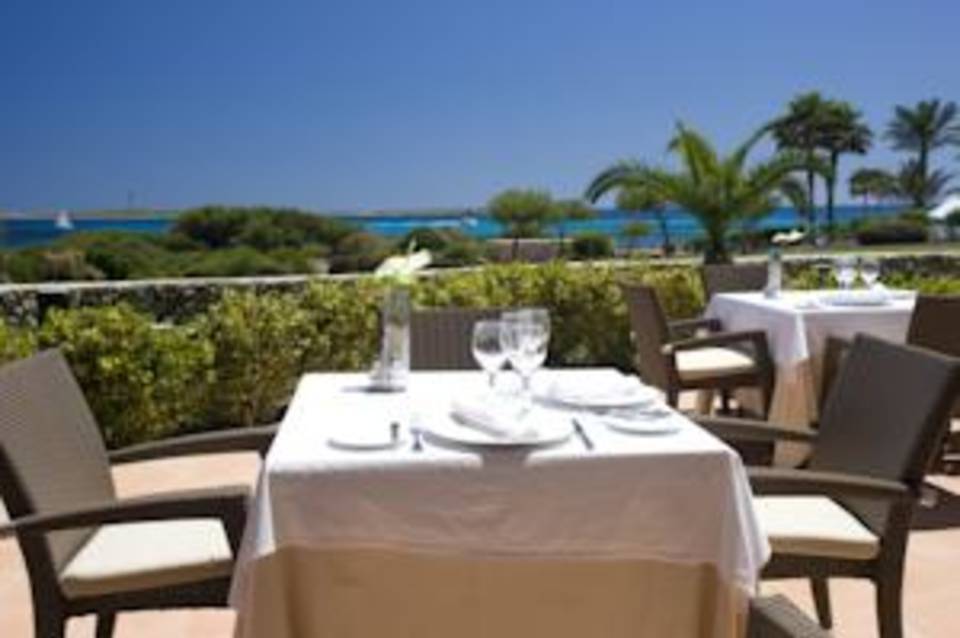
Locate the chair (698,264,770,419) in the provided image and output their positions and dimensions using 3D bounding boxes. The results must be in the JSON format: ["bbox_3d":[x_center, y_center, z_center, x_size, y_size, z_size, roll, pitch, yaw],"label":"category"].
[{"bbox_3d":[1.872,-0.001,5.865,0.518,0.798,0.594,-1,1,3],"label":"chair"}]

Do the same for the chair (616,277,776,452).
[{"bbox_3d":[1.393,0.260,5.534,0.928,1.427,0.974,-4,8,-7],"label":"chair"}]

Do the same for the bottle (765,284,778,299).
[{"bbox_3d":[1.953,-0.181,5.396,0.082,0.090,0.082,1,0,-42],"label":"bottle"}]

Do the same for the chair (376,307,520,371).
[{"bbox_3d":[-0.169,0.102,4.082,0.453,0.273,0.353,0,1,-3],"label":"chair"}]

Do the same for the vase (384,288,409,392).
[{"bbox_3d":[-0.331,0.093,3.216,0.104,0.456,0.103,4,-17,-14],"label":"vase"}]

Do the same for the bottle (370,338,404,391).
[{"bbox_3d":[-0.350,0.180,3.143,0.142,0.222,0.155,0,7,0],"label":"bottle"}]

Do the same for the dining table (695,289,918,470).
[{"bbox_3d":[2.020,0.207,5.115,1.036,0.941,1.128,-2,8,-10],"label":"dining table"}]

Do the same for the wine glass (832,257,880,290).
[{"bbox_3d":[2.502,-0.299,5.342,0.250,0.256,0.431,2,11,29],"label":"wine glass"}]
